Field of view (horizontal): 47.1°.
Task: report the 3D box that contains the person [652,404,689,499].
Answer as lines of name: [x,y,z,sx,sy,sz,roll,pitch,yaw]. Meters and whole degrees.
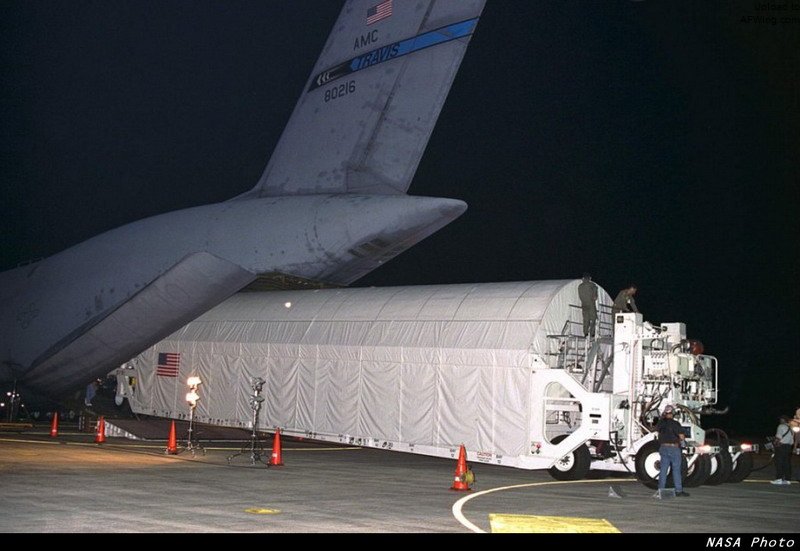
person: [6.555,4.244,22.365,0.654,2.274,1.015,0,-23,17]

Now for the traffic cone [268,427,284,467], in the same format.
traffic cone: [-3.508,4.999,26.336,0.367,1.104,0.952,10,-22,-7]
